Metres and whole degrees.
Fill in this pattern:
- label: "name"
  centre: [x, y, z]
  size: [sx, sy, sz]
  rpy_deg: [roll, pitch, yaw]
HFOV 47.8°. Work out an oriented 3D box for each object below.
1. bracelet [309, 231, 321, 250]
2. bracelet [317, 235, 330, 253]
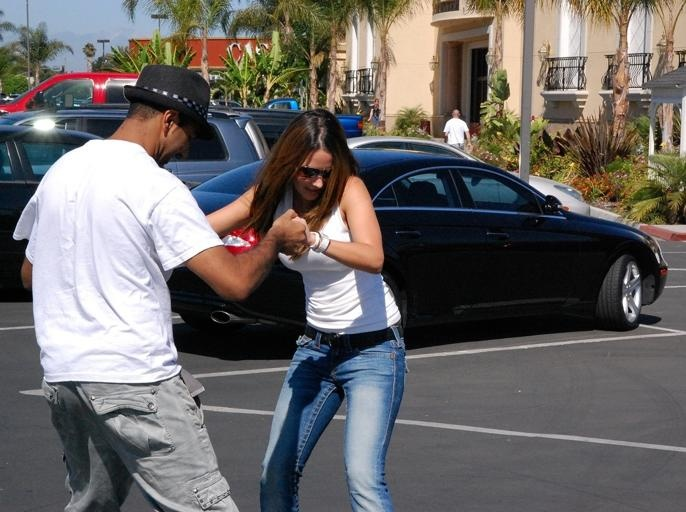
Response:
- label: "bracelet"
  centre: [-0.115, -0.068, 3.458]
  size: [0.050, 0.069, 0.071]
  rpy_deg: [0, 20, 17]
- label: "bracelet"
  centre: [-0.090, -0.047, 3.466]
  size: [0.051, 0.048, 0.075]
  rpy_deg: [4, 5, 26]
